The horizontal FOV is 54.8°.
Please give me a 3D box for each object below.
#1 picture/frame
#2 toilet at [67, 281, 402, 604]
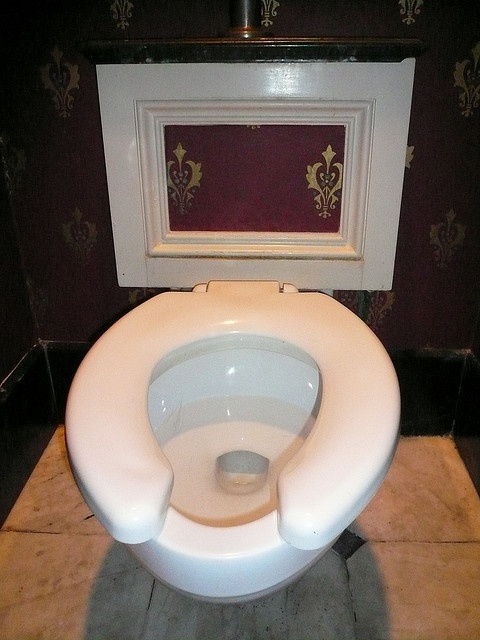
[{"bbox_3d":[0.024,-0.241,0.820,0.402,0.277,0.085,1,16,2],"label":"picture/frame"},{"bbox_3d":[-0.009,0.069,0.565,0.258,0.261,0.414,0,39,2],"label":"toilet"}]
